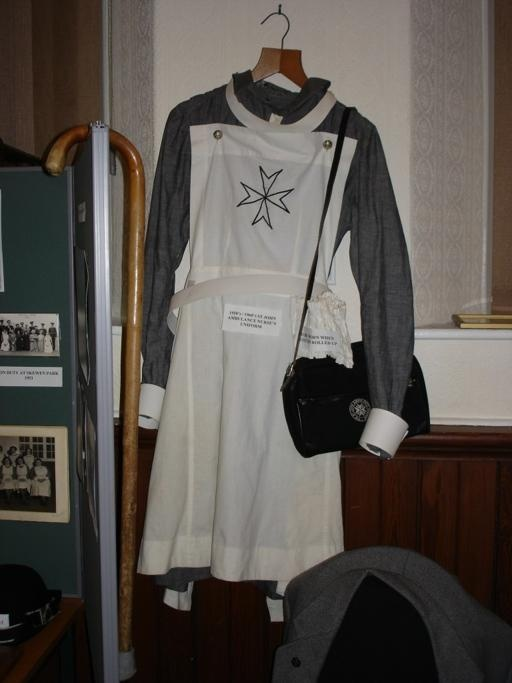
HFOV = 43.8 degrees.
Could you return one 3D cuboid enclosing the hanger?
[{"bbox_3d":[0.057,-0.639,1.392,0.140,0.243,0.008,1,0,1],"label":"hanger"}]
